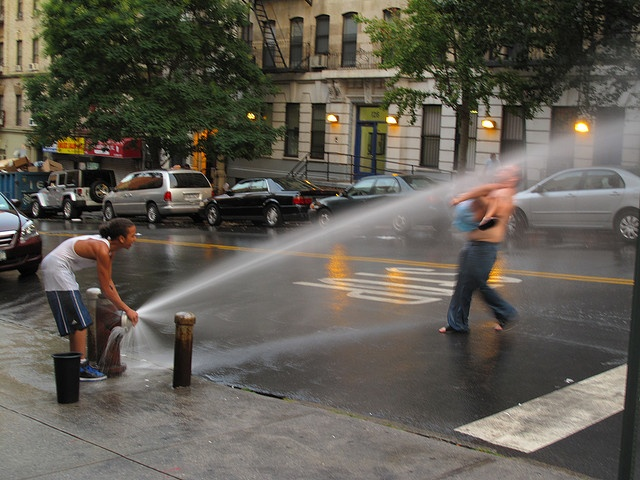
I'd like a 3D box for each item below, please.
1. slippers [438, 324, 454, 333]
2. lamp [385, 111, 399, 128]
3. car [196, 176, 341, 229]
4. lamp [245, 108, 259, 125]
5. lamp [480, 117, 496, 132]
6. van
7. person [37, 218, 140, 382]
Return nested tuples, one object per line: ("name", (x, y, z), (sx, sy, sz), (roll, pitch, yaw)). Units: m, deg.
("slippers", (1.658, 1.185, 8.303), (0.095, 0.061, 0.166), (-5, 11, -25))
("lamp", (3.468, -5.689, 29.821), (0.603, 0.669, 0.621), (1, 6, 5))
("car", (-2.196, -1.445, 23.460), (5.018, 1.420, 1.994), (4, 7, 43))
("lamp", (-3.082, -5.672, 28.992), (0.536, 0.176, 0.618), (-10, 45, -18))
("lamp", (7.335, -4.963, 26.974), (0.639, 0.564, 0.451), (2, 7, 15))
("van", (-6.713, -1.770, 26.107), (4.411, 1.700, 2.513), (7, 7, 41))
("person", (-2.358, 0.620, 6.396), (0.842, 1.662, 0.804), (-3, 8, -28))
